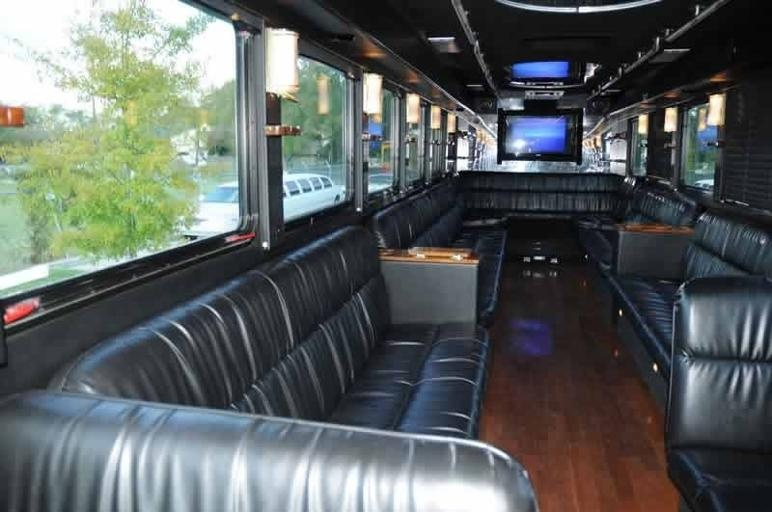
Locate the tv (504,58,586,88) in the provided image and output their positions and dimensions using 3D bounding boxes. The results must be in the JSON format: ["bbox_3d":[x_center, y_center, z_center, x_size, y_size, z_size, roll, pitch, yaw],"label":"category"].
[{"bbox_3d":[2.690,-3.165,8.074,1.137,0.277,2.021,7,15,27],"label":"tv"}]
